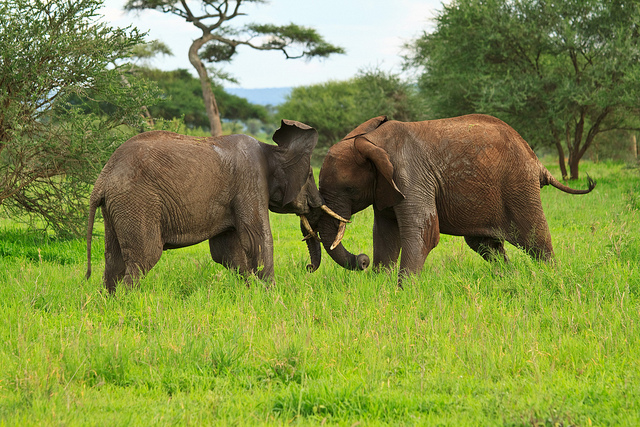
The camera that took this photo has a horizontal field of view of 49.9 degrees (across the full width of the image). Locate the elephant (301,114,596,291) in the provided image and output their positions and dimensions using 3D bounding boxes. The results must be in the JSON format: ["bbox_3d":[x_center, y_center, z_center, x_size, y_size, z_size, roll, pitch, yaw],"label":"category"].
[{"bbox_3d":[1.912,-0.105,10.803,4.452,2.818,1.818,-1,11,8],"label":"elephant"}]
